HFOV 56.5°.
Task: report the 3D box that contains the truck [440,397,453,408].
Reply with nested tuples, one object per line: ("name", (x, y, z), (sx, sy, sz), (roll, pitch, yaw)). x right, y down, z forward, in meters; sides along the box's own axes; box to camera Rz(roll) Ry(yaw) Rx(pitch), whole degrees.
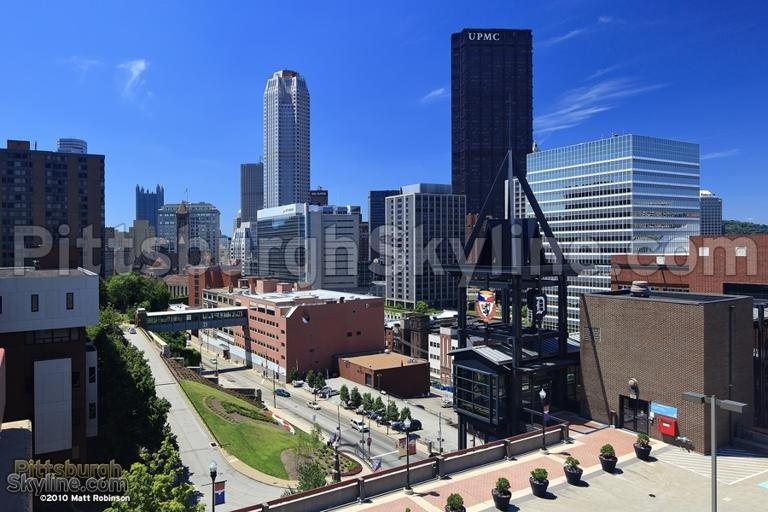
("truck", (12.327, 28.410, 137.765), (1.216, 0.948, 2.802), (2, 5, 22))

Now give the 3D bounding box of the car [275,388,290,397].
("car", (-19.941, 27.433, 141.942), (3.208, 1.184, 2.044), (-1, -2, 37))

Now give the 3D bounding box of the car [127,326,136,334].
("car", (-51.673, 15.399, 146.716), (0.991, 1.032, 3.986), (0, -3, -25))

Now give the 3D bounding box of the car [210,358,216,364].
("car", (-40.321, 24.932, 169.141), (1.290, 0.706, 2.220), (3, 5, -30))
